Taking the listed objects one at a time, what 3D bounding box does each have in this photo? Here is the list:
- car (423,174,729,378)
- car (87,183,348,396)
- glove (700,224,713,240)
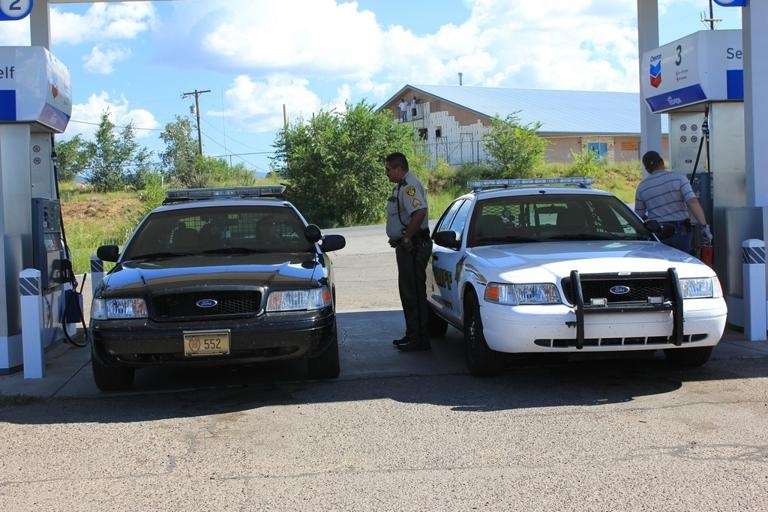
[{"bbox_3d":[1.990,0.202,8.539,2.448,2.026,3.247,-7,11,-25],"label":"car"},{"bbox_3d":[-1.776,0.220,8.492,1.757,1.326,2.995,-2,-4,-3],"label":"car"},{"bbox_3d":[4.348,-0.334,9.975,0.173,0.242,0.093,8,-17,-35],"label":"glove"}]
